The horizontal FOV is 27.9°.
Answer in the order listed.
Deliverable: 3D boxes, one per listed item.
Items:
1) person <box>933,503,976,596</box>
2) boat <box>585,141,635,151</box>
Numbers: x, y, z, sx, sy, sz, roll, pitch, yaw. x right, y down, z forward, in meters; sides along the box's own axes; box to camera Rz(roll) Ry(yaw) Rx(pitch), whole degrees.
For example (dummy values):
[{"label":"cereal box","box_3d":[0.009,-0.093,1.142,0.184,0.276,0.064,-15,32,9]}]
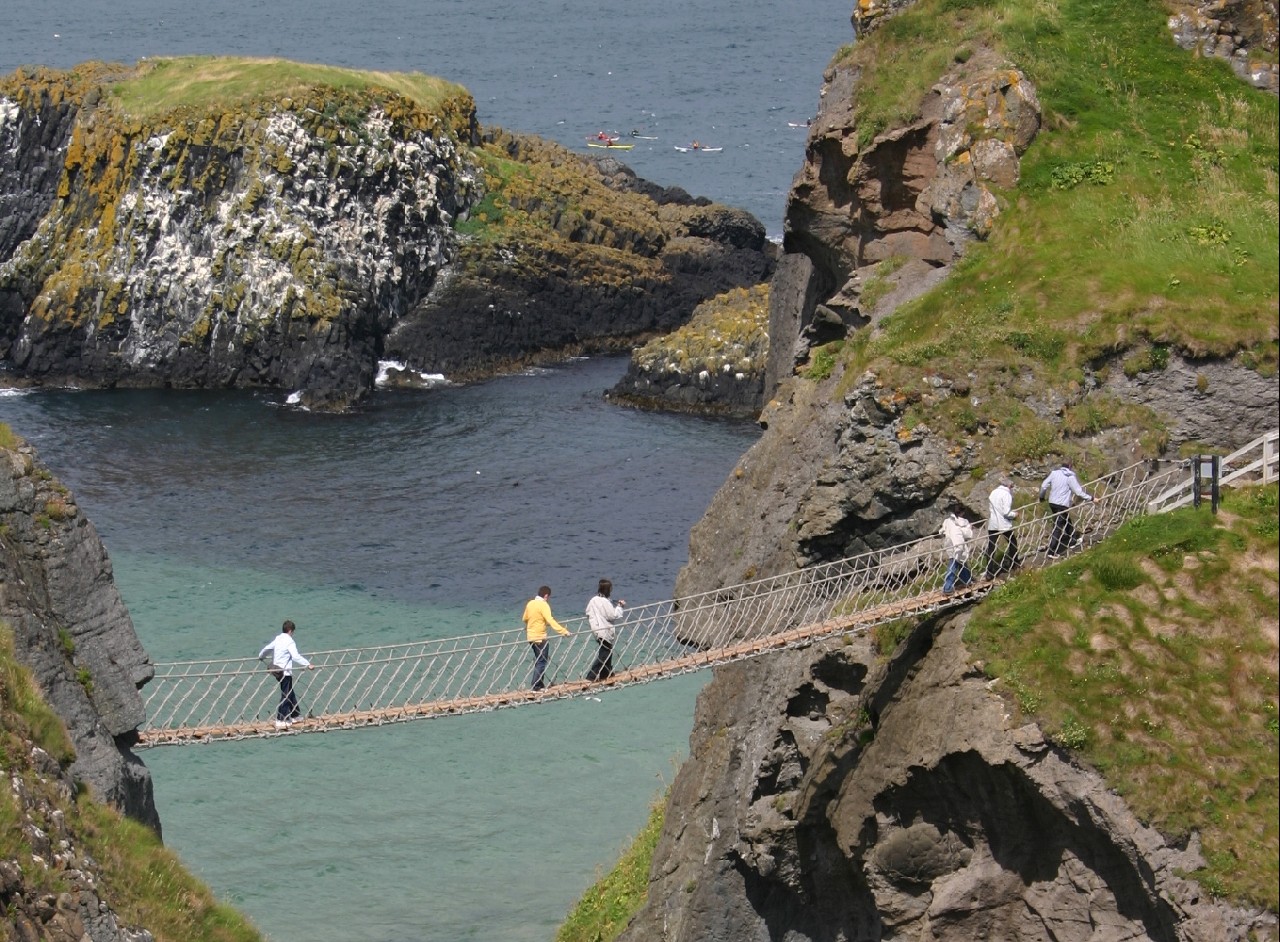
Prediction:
[{"label":"person","box_3d":[7.920,1.900,65.874,0.911,2.291,0.723,2,31,8]},{"label":"boat","box_3d":[-2.159,-21.183,167.778,1.980,0.497,1.127,4,7,7]}]
